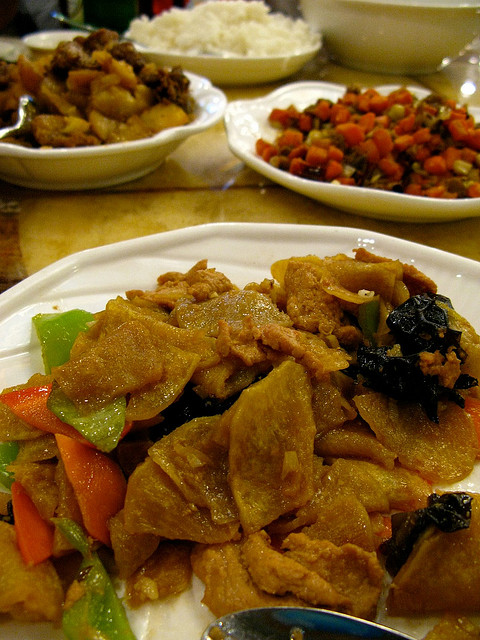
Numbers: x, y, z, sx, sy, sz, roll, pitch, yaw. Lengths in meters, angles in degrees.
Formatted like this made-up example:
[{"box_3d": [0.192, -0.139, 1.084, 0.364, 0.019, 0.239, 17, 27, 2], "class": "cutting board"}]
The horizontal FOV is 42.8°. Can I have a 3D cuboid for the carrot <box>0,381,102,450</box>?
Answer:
[{"box_3d": [-0.229, 0.111, 0.765, 0.100, 0.018, 0.072, 28, 25, 32], "class": "carrot"}]

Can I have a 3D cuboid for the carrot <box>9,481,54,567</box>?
[{"box_3d": [-0.242, 0.235, 0.704, 0.023, 0.077, 0.071, -31, 71, 10], "class": "carrot"}]

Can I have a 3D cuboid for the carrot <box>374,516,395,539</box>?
[{"box_3d": [0.179, 0.257, 0.758, 0.025, 0.006, 0.018, -33, 26, -26], "class": "carrot"}]
